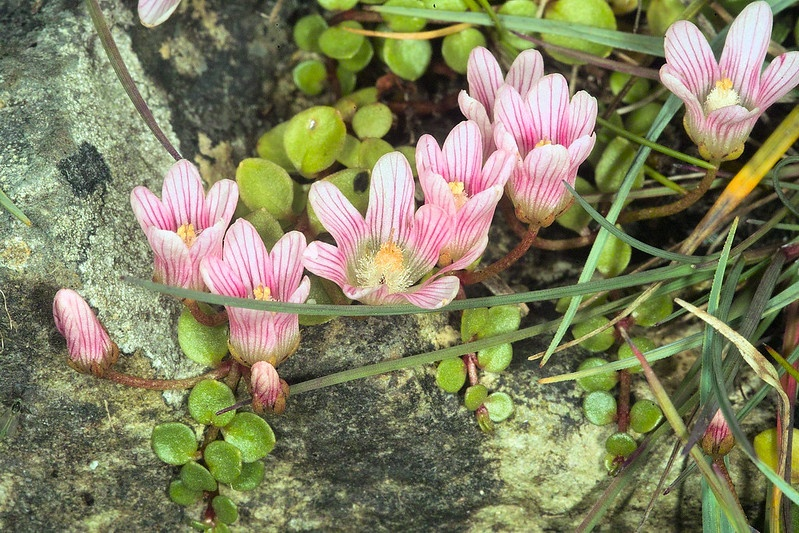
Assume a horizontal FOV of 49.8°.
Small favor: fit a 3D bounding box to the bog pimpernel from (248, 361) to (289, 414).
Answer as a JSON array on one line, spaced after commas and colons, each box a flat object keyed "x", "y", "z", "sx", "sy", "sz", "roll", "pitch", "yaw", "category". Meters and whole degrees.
[{"x": -0.430, "y": 0.398, "z": 2.796, "sx": 0.116, "sy": 0.170, "sz": 0.066, "roll": -14, "pitch": 35, "yaw": -10, "category": "bog pimpernel"}]
